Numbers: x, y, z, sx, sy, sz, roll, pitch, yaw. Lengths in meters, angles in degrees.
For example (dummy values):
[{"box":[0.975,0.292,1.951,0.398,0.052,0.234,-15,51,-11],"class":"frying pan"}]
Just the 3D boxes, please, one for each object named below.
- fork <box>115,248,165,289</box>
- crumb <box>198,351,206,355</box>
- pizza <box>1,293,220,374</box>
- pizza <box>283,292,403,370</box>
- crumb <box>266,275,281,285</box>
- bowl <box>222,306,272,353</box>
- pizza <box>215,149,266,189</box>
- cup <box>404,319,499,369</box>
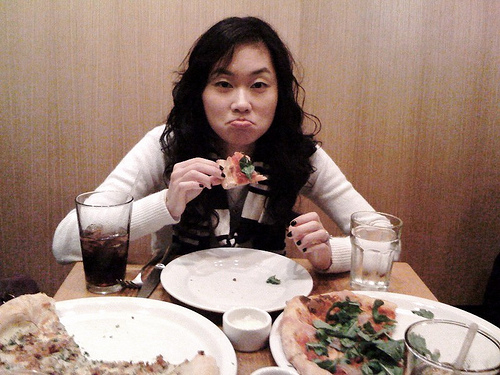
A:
[{"box":[-0.497,0.389,1.921,0.050,0.046,0.328,4,10,15],"class":"fork"},{"box":[-0.158,0.544,1.331,0.021,0.006,0.020,4,10,4],"class":"crumb"},{"box":[-0.487,0.529,1.333,0.605,0.085,0.292,11,22,-3],"class":"pizza"},{"box":[0.344,0.479,1.452,0.423,0.129,0.466,5,11,11],"class":"pizza"},{"box":[0.109,0.417,1.829,0.043,0.016,0.032,8,14,39],"class":"crumb"},{"box":[-0.010,0.505,1.469,0.189,0.136,0.154,4,8,-24],"class":"bowl"},{"box":[-0.052,-0.092,2.125,0.231,0.168,0.132,-3,13,-26],"class":"pizza"},{"box":[0.515,0.417,1.070,0.160,0.125,0.171,-2,22,1],"class":"cup"}]
